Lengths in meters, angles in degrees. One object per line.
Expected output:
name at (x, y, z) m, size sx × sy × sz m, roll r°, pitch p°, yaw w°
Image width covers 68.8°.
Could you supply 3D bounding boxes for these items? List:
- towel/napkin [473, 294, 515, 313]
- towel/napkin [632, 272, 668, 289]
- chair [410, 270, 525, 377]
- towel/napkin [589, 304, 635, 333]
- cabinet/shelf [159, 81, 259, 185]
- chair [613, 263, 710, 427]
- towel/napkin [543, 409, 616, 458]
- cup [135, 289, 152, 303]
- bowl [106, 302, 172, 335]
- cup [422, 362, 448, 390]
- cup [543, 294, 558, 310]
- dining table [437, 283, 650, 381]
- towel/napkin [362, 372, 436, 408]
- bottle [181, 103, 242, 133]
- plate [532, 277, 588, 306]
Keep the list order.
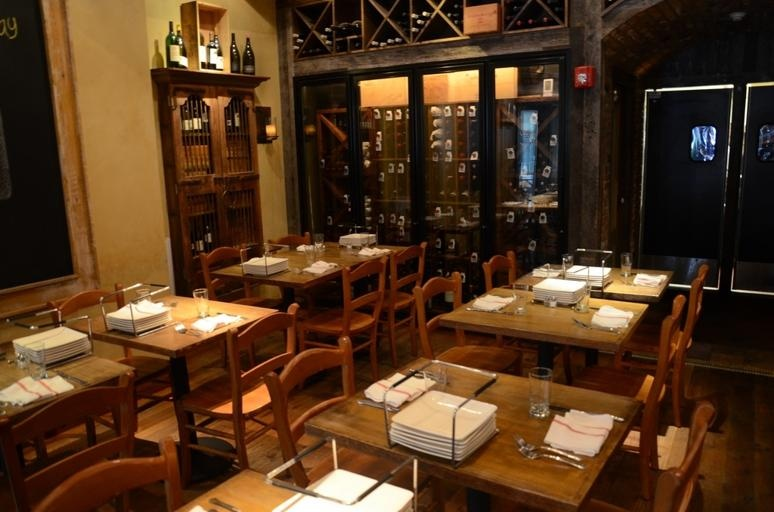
towel/napkin at (0.803, 0.372, 4.350) m, size 0.151 × 0.025 × 0.190 m, roll 7°, pitch 21°, yaw 37°
towel/napkin at (2.207, 0.211, 4.753) m, size 0.166 × 0.055 × 0.170 m, roll 7°, pitch 15°, yaw 42°
chair at (0.693, 0.585, 4.746) m, size 0.751 × 1.224 × 0.733 m, roll 8°, pitch 18°, yaw 35°
towel/napkin at (1.581, 0.443, 3.983) m, size 0.198 × 0.060 × 0.197 m, roll 16°, pitch 36°, yaw 41°
cabinet/shelf at (-2.031, -1.367, 6.268) m, size 0.324 × 1.180 × 1.218 m, roll 4°, pitch 10°, yaw 29°
chair at (2.232, 0.665, 4.651) m, size 0.666 × 1.198 × 0.601 m, roll 4°, pitch 13°, yaw 22°
towel/napkin at (0.975, 0.900, 2.878) m, size 0.313 × 0.378 × 0.060 m, roll 7°, pitch 46°, yaw 22°
cup at (-1.916, 0.302, 4.388) m, size 0.109 × 0.121 × 0.125 m, roll 12°, pitch 15°, yaw 39°
bowl at (-1.871, 0.405, 4.160) m, size 0.311 × 0.122 × 0.292 m, roll -1°, pitch 14°, yaw 0°
cup at (0.288, 0.696, 3.274) m, size 0.104 × 0.133 × 0.054 m, roll -5°, pitch -24°, yaw 37°
cup at (1.249, 0.353, 4.292) m, size 0.084 × 0.058 × 0.086 m, roll -3°, pitch 11°, yaw 1°
dining table at (1.261, 0.553, 4.240) m, size 0.935 × 0.675 × 0.890 m, roll 9°, pitch 24°, yaw 31°
towel/napkin at (0.078, 0.745, 3.159) m, size 0.215 × 0.056 × 0.243 m, roll 9°, pitch 20°, yaw 40°
bottle at (-1.957, -1.571, 6.363) m, size 0.137 × 0.383 × 0.852 m, roll 4°, pitch 15°, yaw 28°
plate at (1.319, 0.272, 4.375) m, size 0.264 × 0.084 × 0.249 m, roll 9°, pitch 19°, yaw 40°
